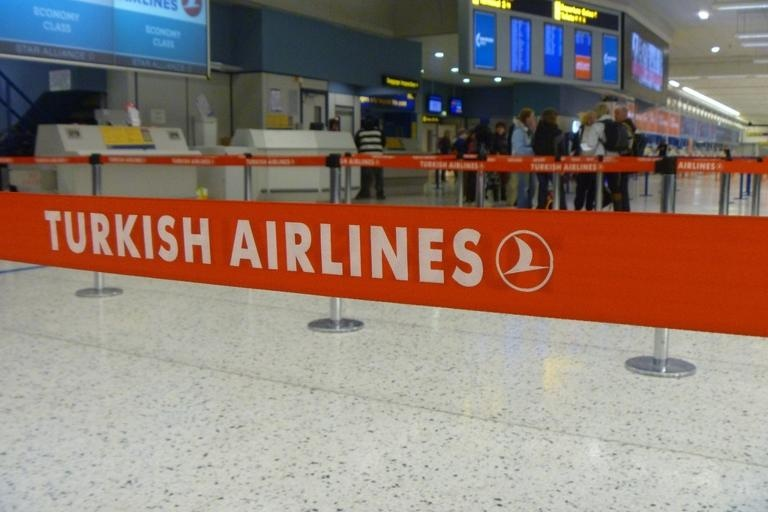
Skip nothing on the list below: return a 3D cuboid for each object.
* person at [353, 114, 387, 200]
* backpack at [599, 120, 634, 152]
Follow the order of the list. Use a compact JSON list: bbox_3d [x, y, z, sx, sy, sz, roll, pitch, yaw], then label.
[{"bbox_3d":[-0.281,-1.944,12.257,0.603,1.642,1.276,-1,13,-2],"label":"person"},{"bbox_3d":[2.709,-1.384,7.081,0.346,0.390,0.163,-2,13,-7],"label":"backpack"}]
